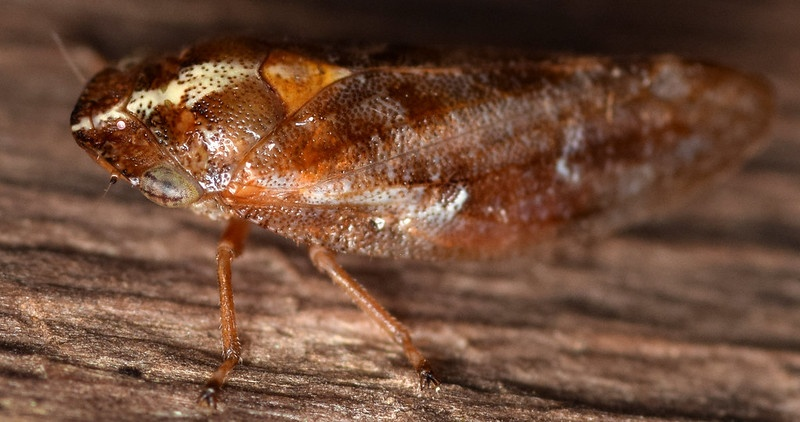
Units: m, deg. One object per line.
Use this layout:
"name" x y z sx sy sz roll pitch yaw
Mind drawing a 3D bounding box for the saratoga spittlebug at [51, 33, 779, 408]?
"saratoga spittlebug" 0.370 -0.466 8.682 6.939 1.910 4.258 -1 30 0
